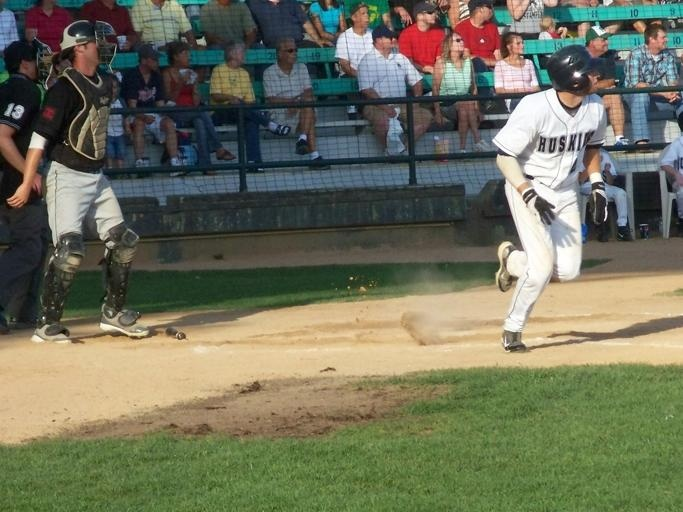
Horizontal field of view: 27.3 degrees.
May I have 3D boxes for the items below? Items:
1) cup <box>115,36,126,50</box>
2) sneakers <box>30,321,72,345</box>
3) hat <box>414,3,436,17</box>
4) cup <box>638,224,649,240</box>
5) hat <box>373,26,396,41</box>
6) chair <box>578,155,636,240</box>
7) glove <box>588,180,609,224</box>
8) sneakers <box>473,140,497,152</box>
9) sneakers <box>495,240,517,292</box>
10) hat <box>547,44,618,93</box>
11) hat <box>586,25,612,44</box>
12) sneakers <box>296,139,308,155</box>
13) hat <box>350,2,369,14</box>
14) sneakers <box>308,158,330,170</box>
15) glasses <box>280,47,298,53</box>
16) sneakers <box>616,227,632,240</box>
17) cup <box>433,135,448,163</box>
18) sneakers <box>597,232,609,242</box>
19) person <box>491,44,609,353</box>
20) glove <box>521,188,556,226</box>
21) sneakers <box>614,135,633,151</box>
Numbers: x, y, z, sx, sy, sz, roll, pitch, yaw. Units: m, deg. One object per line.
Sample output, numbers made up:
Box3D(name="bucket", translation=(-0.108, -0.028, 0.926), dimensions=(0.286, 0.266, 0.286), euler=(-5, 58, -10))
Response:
Box3D(name="cup", translation=(-3.093, -2.959, 19.692), dimensions=(0.140, 0.182, 0.132), euler=(1, 13, 0))
Box3D(name="sneakers", translation=(-2.867, 0.765, 13.968), dimensions=(0.410, 0.172, 0.173), euler=(-1, -1, 17))
Box3D(name="hat", translation=(1.219, -3.554, 20.449), dimensions=(0.317, 0.189, 0.311), euler=(-1, 13, 8))
Box3D(name="cup", translation=(4.244, -0.334, 19.599), dimensions=(0.200, 0.230, 0.183), euler=(-1, 2, 0))
Box3D(name="hat", translation=(0.600, -3.110, 19.852), dimensions=(0.306, 0.199, 0.223), euler=(-2, 13, 1))
Box3D(name="chair", translation=(3.690, -0.910, 19.532), dimensions=(0.788, 1.250, 0.581), euler=(-3, -9, 13))
Box3D(name="glove", translation=(2.490, -0.505, 13.423), dimensions=(0.146, 0.409, 0.191), euler=(0, 3, 28))
Box3D(name="sneakers", translation=(2.043, -1.536, 19.929), dimensions=(0.294, 0.115, 0.154), euler=(-1, 17, -6))
Box3D(name="sneakers", translation=(1.580, 0.145, 13.784), dimensions=(0.210, 0.533, 0.255), euler=(7, 19, 27))
Box3D(name="hat", translation=(2.202, -1.726, 13.128), dimensions=(0.510, 0.419, 0.281), euler=(-1, 13, 6))
Box3D(name="hat", translation=(3.922, -3.313, 21.264), dimensions=(0.365, 0.199, 0.251), euler=(-3, 18, 6))
Box3D(name="sneakers", translation=(-0.537, -1.498, 19.617), dimensions=(0.179, 0.223, 0.064), euler=(-3, 13, -2))
Box3D(name="hat", translation=(0.260, -3.534, 20.253), dimensions=(0.212, 0.103, 0.157), euler=(-5, -3, 23))
Box3D(name="sneakers", translation=(-0.303, -1.234, 19.359), dimensions=(0.131, 0.134, 0.313), euler=(-4, 3, -29))
Box3D(name="glasses", translation=(-0.707, -2.819, 19.527), dimensions=(0.270, 0.088, 0.117), euler=(-12, 16, -37))
Box3D(name="sneakers", translation=(3.929, -0.295, 19.383), dimensions=(0.250, 0.227, 0.119), euler=(4, 14, 35))
Box3D(name="cup", translation=(1.432, -1.447, 19.779), dimensions=(0.218, 0.367, 0.576), euler=(-2, 13, 4))
Box3D(name="sneakers", translation=(3.630, -0.257, 19.405), dimensions=(0.141, 0.131, 0.137), euler=(-3, 1, -30))
Box3D(name="person", translation=(2.010, -0.540, 13.342), dimensions=(1.129, 2.810, 0.756), euler=(-5, 14, -7))
Box3D(name="glove", translation=(1.834, -0.455, 13.073), dimensions=(0.238, 0.358, 0.131), euler=(-53, 14, -32))
Box3D(name="sneakers", translation=(4.090, -1.616, 20.275), dimensions=(0.157, 0.166, 0.411), euler=(-1, 5, 0))
